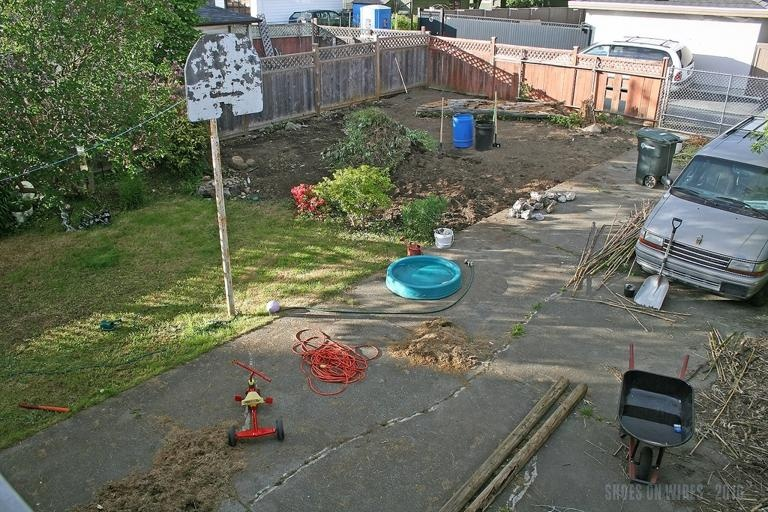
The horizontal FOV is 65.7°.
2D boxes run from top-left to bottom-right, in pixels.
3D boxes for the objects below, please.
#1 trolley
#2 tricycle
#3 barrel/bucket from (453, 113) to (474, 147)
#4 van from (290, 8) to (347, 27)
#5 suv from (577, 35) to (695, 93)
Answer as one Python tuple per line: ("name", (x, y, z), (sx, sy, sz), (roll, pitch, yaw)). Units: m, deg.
("trolley", (4.111, 2.366, 8.981), (0.946, 0.696, 1.928), (4, 52, 27))
("tricycle", (-2.157, 2.271, 9.750), (0.900, 0.892, 1.658), (-1, 18, -17))
("barrel/bucket", (2.450, -3.859, 18.285), (0.618, 1.015, 0.357), (-1, 27, 2))
("van", (-4.210, -16.034, 39.846), (4.713, 0.970, 1.987), (-23, 32, -40))
("suv", (9.103, -6.553, 21.584), (4.381, 1.976, 2.425), (19, 48, 21))
